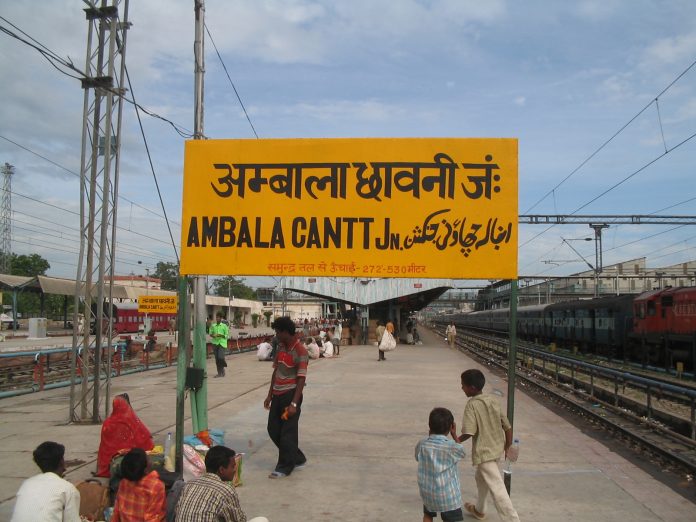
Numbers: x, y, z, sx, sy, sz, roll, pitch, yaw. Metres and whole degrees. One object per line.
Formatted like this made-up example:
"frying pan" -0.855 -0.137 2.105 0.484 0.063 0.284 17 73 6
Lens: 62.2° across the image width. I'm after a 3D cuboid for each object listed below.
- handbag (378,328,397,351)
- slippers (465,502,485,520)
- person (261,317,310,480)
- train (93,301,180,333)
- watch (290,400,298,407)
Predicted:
"handbag" 1.740 3.420 24.268 0.700 1.454 1.081 4 -9 -5
"slippers" 1.608 3.133 7.273 0.098 0.103 0.270 0 19 -23
"person" -0.884 1.952 8.332 0.633 2.252 0.468 -2 -5 3
"train" -17.966 4.882 49.966 2.195 2.621 16.069 -2 -7 -5
"watch" -0.751 2.033 8.186 0.055 0.091 0.086 2 -4 -20
